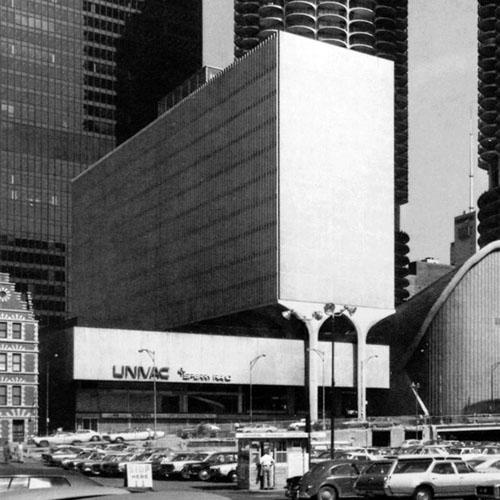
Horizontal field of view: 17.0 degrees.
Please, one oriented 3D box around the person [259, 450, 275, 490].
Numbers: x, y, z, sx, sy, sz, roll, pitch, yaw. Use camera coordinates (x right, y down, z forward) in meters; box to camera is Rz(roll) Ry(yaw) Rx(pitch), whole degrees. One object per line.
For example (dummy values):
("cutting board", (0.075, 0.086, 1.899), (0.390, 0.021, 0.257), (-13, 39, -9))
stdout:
("person", (1.357, 20.062, 150.903), (1.292, 3.058, 1.168), (-2, 7, -1))
